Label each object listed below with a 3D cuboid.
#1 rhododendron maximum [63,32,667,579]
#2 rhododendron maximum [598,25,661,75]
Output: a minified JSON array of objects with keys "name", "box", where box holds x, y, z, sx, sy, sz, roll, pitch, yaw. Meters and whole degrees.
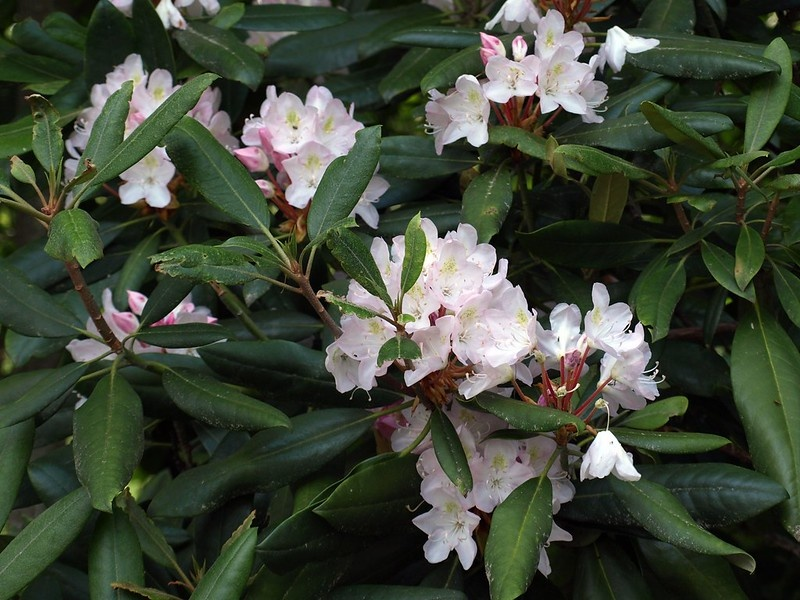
[{"name":"rhododendron maximum","box":[0.043,-0.073,1.555,0.902,0.722,1.026,1,56,18]},{"name":"rhododendron maximum","box":[0.472,-0.525,1.616,0.102,0.059,0.109,-30,28,11]}]
